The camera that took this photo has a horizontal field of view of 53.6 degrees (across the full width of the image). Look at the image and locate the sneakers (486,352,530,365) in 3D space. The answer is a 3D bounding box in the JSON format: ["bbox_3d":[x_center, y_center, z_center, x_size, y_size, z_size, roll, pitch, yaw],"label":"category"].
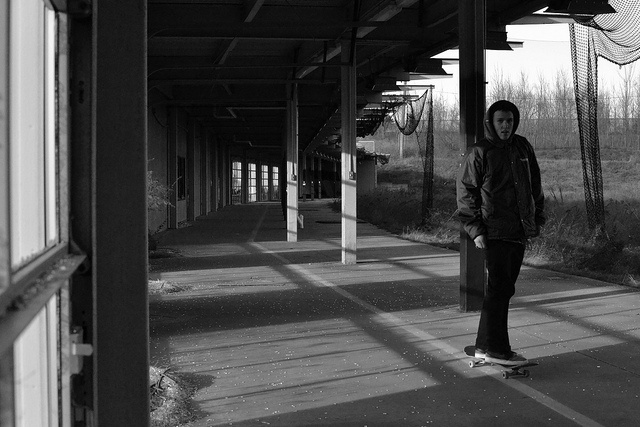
[{"bbox_3d":[1.935,1.484,6.517,0.374,0.122,0.156,2,-5,-2],"label":"sneakers"}]

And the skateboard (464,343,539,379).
[{"bbox_3d":[1.812,1.559,6.604,0.256,0.141,0.713,-3,4,-30],"label":"skateboard"}]

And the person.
[{"bbox_3d":[1.884,0.189,6.577,0.869,2.735,0.463,0,3,13],"label":"person"}]
